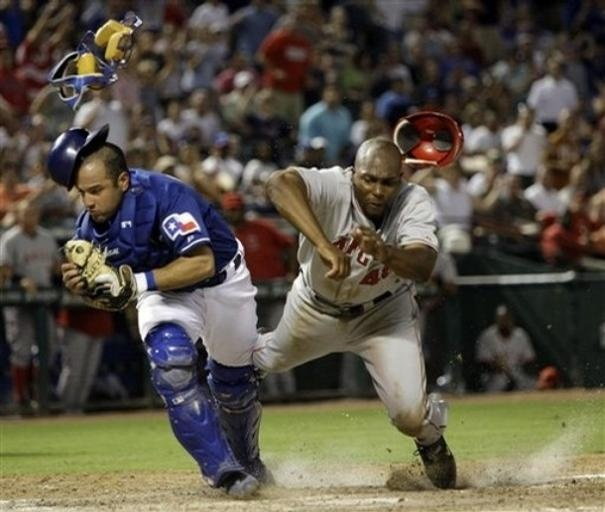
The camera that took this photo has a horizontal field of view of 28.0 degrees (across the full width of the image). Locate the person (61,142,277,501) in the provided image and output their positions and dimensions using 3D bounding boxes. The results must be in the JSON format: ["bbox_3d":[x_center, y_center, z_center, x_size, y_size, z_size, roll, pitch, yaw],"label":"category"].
[{"bbox_3d":[-0.873,0.438,8.442,1.277,2.483,0.911,-4,7,-15],"label":"person"}]

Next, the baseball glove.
[{"bbox_3d":[-1.377,0.076,8.496,0.597,0.286,0.465,5,16,43],"label":"baseball glove"}]

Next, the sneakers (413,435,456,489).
[{"bbox_3d":[0.980,1.486,8.752,0.165,0.501,0.197,-19,2,18],"label":"sneakers"}]

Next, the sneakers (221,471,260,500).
[{"bbox_3d":[-0.413,1.564,8.275,0.206,0.166,0.093,10,-33,-8],"label":"sneakers"}]

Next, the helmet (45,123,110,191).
[{"bbox_3d":[-1.537,-0.702,8.342,0.221,0.485,0.346,29,-11,9],"label":"helmet"}]
